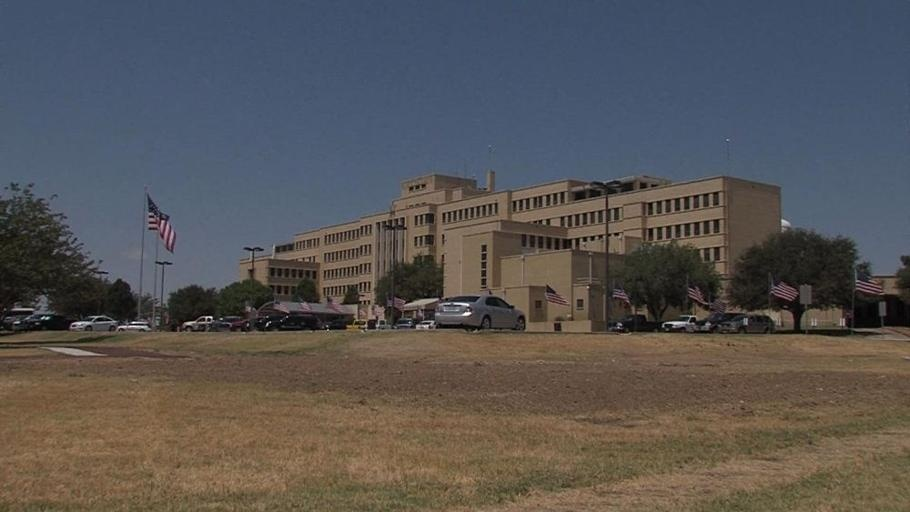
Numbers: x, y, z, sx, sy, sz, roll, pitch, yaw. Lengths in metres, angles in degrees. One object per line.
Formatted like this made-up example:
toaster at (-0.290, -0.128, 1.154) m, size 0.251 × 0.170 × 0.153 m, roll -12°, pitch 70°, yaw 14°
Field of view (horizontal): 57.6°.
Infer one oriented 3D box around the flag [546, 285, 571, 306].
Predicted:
flag at (9.368, 3.541, 75.030) m, size 2.440 × 2.310 × 0.269 m, roll 2°, pitch -26°, yaw -5°

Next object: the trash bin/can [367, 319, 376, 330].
trash bin/can at (-9.145, 7.511, 91.129) m, size 1.036 × 0.822 × 1.651 m, roll 0°, pitch -10°, yaw -4°

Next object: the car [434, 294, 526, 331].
car at (1.428, 3.141, 45.972) m, size 2.162 × 1.171 × 4.171 m, roll -4°, pitch -5°, yaw 43°

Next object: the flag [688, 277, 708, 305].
flag at (22.117, 2.996, 75.494) m, size 2.733 × 2.643 × 0.405 m, roll -3°, pitch -22°, yaw 18°

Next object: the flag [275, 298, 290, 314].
flag at (-20.988, 6.126, 100.832) m, size 3.167 × 1.449 × 4.125 m, roll 2°, pitch 1°, yaw -14°

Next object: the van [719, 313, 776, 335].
van at (25.524, 6.025, 72.785) m, size 3.979 × 1.280 × 2.578 m, roll 5°, pitch -10°, yaw -25°

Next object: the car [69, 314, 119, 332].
car at (-33.313, 6.259, 76.613) m, size 2.901 × 1.101 × 4.185 m, roll 0°, pitch -1°, yaw 8°
